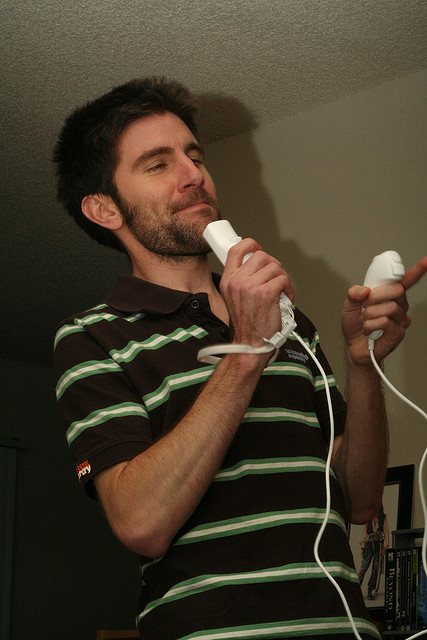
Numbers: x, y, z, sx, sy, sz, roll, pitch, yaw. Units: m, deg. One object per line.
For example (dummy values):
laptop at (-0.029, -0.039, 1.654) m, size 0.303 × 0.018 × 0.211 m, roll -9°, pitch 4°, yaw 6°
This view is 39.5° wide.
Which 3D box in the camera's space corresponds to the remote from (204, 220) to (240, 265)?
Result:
remote at (0.015, -0.110, 0.902) m, size 0.046 × 0.062 × 0.116 m, roll -10°, pitch 30°, yaw -6°

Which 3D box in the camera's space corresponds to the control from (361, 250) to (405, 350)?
control at (0.233, -0.028, 0.815) m, size 0.062 × 0.136 × 0.076 m, roll -7°, pitch -1°, yaw 12°

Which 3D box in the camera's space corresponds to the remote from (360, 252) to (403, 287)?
remote at (0.227, -0.067, 0.807) m, size 0.031 × 0.046 × 0.067 m, roll -6°, pitch 0°, yaw -37°

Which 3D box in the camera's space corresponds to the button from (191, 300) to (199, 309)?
button at (-0.032, -0.027, 1.033) m, size 0.014 × 0.012 × 0.004 m, roll -4°, pitch -19°, yaw -5°
